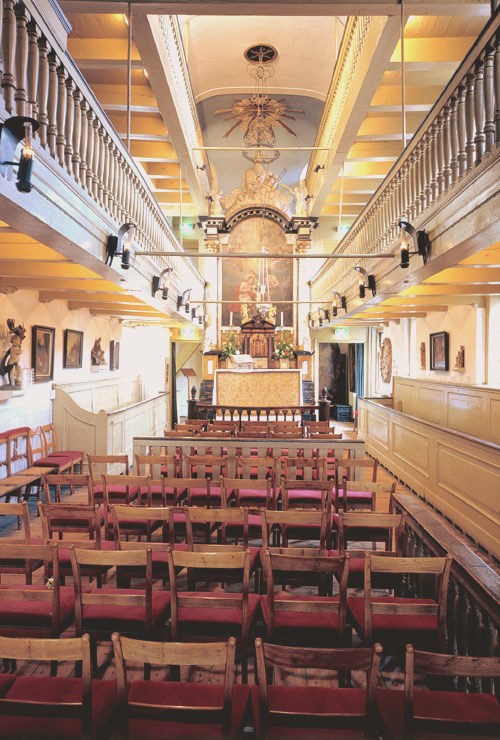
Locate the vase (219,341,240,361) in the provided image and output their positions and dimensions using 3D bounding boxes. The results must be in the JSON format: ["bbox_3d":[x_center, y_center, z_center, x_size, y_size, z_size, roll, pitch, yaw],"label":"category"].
[{"bbox_3d":[-0.590,-0.551,16.148,0.553,0.663,0.492,1,0,-7],"label":"vase"}]

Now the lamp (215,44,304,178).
[{"bbox_3d":[0.196,-5.745,11.941,1.442,2.222,1.469,-1,-5,27],"label":"lamp"}]

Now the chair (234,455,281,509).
[{"bbox_3d":[0.072,1.036,5.432,0.341,0.661,0.404,0,-8,0],"label":"chair"}]

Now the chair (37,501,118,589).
[{"bbox_3d":[-1.308,1.187,4.128,0.457,0.680,0.525,6,14,4],"label":"chair"}]

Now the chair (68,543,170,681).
[{"bbox_3d":[-0.715,1.313,3.093,0.475,0.830,0.550,2,-2,8],"label":"chair"}]

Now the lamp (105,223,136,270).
[{"bbox_3d":[-1.128,-1.079,4.960,0.202,0.404,0.223,5,-1,15],"label":"lamp"}]

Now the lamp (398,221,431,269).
[{"bbox_3d":[1.363,-1.042,4.665,0.216,0.378,0.172,0,5,5],"label":"lamp"}]

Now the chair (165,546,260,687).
[{"bbox_3d":[-0.216,1.268,3.054,0.466,0.852,0.532,3,4,7],"label":"chair"}]

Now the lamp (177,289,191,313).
[{"bbox_3d":[-1.178,-1.202,9.818,0.247,0.287,0.454,7,25,1],"label":"lamp"}]

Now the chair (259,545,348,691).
[{"bbox_3d":[0.295,1.212,3.026,0.516,0.956,0.550,0,9,4],"label":"chair"}]

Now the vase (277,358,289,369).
[{"bbox_3d":[0.956,-0.211,16.375,0.251,0.388,0.267,0,-3,-3],"label":"vase"}]

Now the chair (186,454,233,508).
[{"bbox_3d":[-0.386,0.989,5.399,0.413,0.797,0.470,1,9,1],"label":"chair"}]

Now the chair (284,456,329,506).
[{"bbox_3d":[0.509,1.032,5.311,0.372,0.686,0.411,1,6,4],"label":"chair"}]

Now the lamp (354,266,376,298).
[{"bbox_3d":[1.473,-1.110,7.119,0.208,0.429,0.726,-1,-2,11],"label":"lamp"}]
